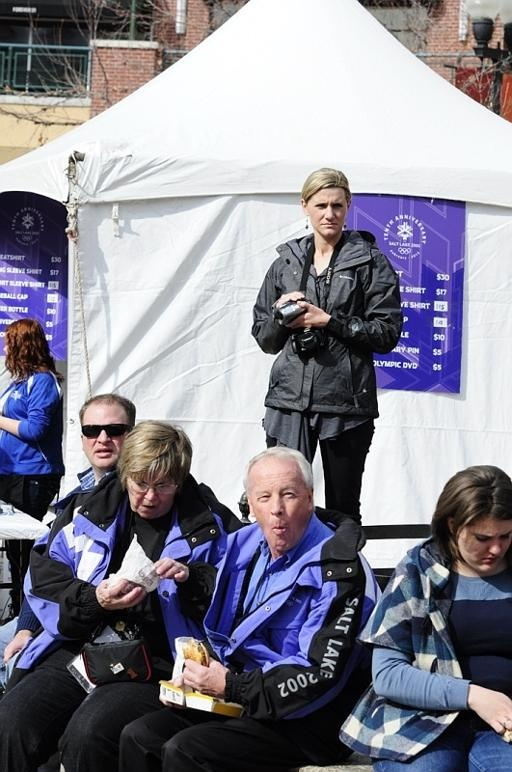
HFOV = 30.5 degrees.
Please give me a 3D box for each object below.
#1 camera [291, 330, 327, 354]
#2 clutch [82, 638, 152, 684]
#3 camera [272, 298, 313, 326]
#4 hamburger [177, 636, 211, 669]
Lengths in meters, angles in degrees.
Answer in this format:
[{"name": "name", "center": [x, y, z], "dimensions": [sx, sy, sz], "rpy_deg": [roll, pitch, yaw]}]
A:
[{"name": "camera", "center": [0.218, -0.195, 3.861], "dimensions": [0.124, 0.118, 0.089], "rpy_deg": [14, 12, 16]}, {"name": "clutch", "center": [-0.444, 0.886, 3.008], "dimensions": [0.207, 0.129, 0.143], "rpy_deg": [-4, 5, -4]}, {"name": "camera", "center": [0.144, -0.297, 3.780], "dimensions": [0.136, 0.073, 0.057], "rpy_deg": [-35, -17, -24]}, {"name": "hamburger", "center": [-0.182, 0.787, 2.785], "dimensions": [0.084, 0.030, 0.061], "rpy_deg": [42, 45, 20]}]
